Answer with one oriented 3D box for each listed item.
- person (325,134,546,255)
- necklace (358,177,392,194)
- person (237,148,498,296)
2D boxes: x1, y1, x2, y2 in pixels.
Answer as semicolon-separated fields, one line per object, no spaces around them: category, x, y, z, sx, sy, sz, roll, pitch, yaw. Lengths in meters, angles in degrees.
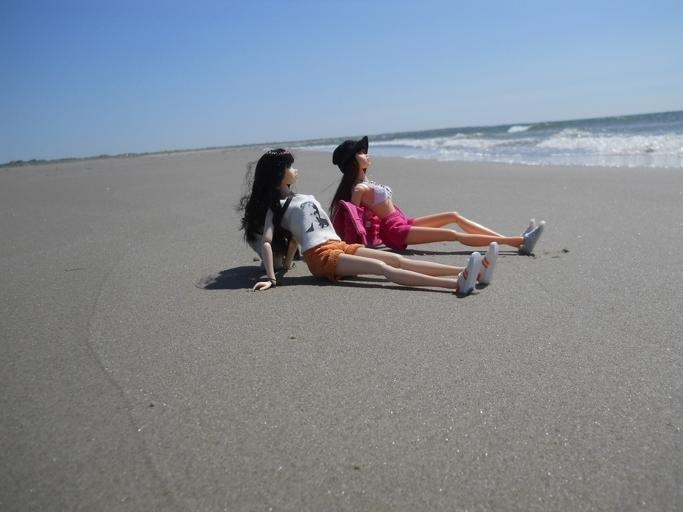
person;0.915;-0.616;5.159;2.030;1.214;0.668;3;19;20
necklace;0.363;-0.706;5.246;0.320;0.159;0.201;25;15;-5
person;0.138;-0.319;4.287;1.984;1.076;0.994;5;15;11
